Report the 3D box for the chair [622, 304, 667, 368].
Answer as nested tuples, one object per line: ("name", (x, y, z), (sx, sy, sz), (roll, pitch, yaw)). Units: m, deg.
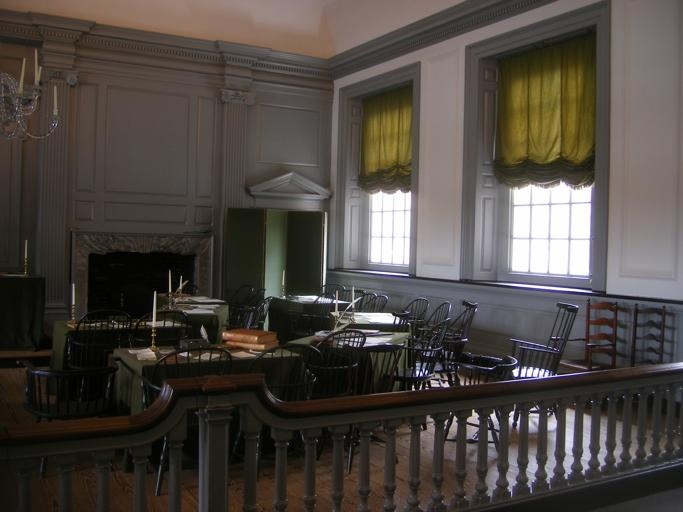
("chair", (3.283, 0.868, 6.293), (0.385, 0.678, 0.451), (1, 2, 27))
